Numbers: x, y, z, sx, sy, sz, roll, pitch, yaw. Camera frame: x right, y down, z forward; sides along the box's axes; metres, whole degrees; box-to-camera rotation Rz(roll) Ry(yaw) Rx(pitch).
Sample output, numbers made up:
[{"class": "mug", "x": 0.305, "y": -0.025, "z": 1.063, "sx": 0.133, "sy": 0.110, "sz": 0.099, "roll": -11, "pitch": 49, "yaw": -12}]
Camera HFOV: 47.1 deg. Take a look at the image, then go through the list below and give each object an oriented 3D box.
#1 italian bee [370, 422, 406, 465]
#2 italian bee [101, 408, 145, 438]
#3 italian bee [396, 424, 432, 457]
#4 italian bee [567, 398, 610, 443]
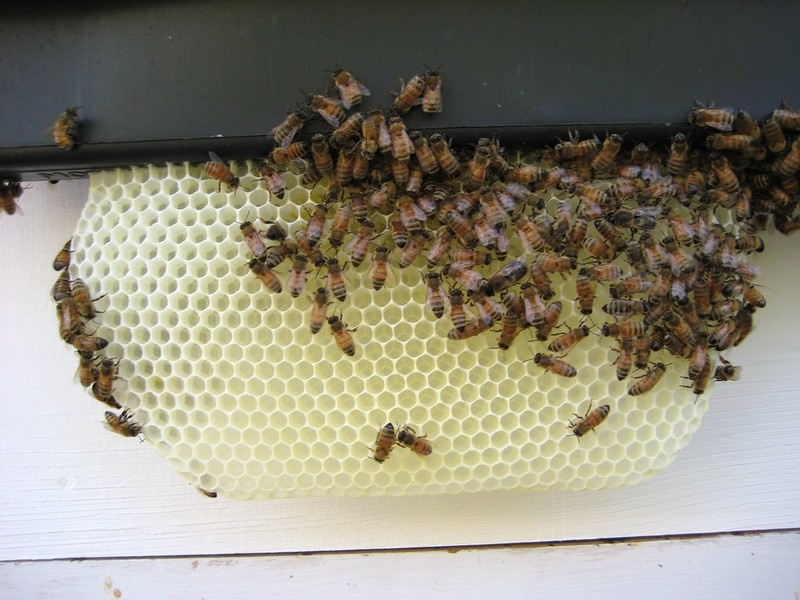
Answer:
[{"class": "italian bee", "x": -0.069, "y": 0.787, "z": 5.046, "sx": 0.168, "sy": 0.072, "sz": 0.207, "roll": 25, "pitch": 98, "yaw": 7}, {"class": "italian bee", "x": -1.587, "y": 0.691, "z": 5.185, "sx": 0.220, "sy": 0.149, "sz": 0.063, "roll": 17, "pitch": 45, "yaw": 29}, {"class": "italian bee", "x": 0.077, "y": 0.780, "z": 5.089, "sx": 0.195, "sy": 0.056, "sz": 0.137, "roll": 35, "pitch": 88, "yaw": -14}, {"class": "italian bee", "x": 1.042, "y": 0.681, "z": 5.051, "sx": 0.224, "sy": 0.069, "sz": 0.157, "roll": -42, "pitch": 79, "yaw": 32}]
